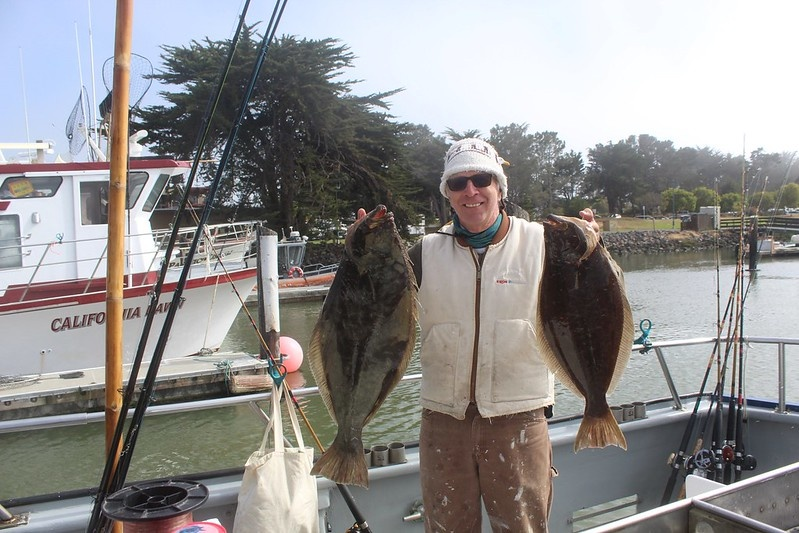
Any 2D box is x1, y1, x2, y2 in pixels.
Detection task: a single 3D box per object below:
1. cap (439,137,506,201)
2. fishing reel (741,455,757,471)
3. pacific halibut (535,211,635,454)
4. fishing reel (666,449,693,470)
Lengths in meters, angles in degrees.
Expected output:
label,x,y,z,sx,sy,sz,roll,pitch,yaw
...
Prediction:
label,x,y,z,sx,sy,sz,roll,pitch,yaw
cap,0.575,-0.864,5.508,0.401,0.394,0.516,-8,-19,25
fishing reel,3.585,2.004,6.877,0.157,0.152,0.127,3,-7,37
pacific halibut,1.535,0.665,5.366,0.684,1.888,0.242,-10,26,6
fishing reel,2.905,2.003,6.990,0.150,0.086,0.241,9,-3,4
